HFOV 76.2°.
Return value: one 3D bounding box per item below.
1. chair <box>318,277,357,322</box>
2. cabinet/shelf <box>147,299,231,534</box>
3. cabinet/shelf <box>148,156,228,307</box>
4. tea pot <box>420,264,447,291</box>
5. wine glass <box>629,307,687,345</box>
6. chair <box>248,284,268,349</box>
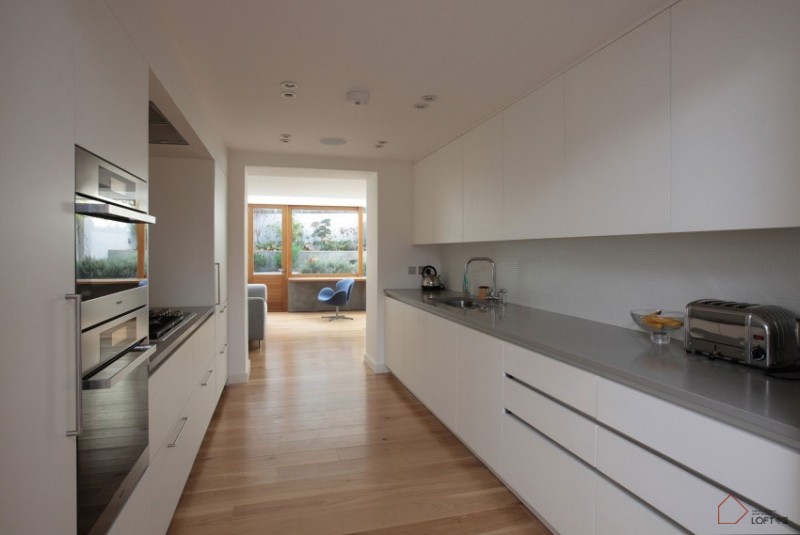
[{"bbox_3d":[-1.227,0.609,9.695,0.693,0.769,0.722,2,3,29],"label":"chair"},{"bbox_3d":[-1.345,0.961,3.227,0.367,0.463,1.284,-2,7,-10],"label":"cabinet/shelf"},{"bbox_3d":[-1.801,-0.289,4.208,0.535,1.224,0.184,-2,7,-19],"label":"cabinet/shelf"},{"bbox_3d":[0.344,0.115,5.678,0.309,0.313,0.208,-2,1,-2],"label":"tea pot"},{"bbox_3d":[1.453,0.327,2.870,0.306,0.203,0.309,-2,-3,24],"label":"wine glass"},{"bbox_3d":[-1.987,0.700,7.089,0.227,0.384,0.783,-1,4,-14],"label":"chair"}]
